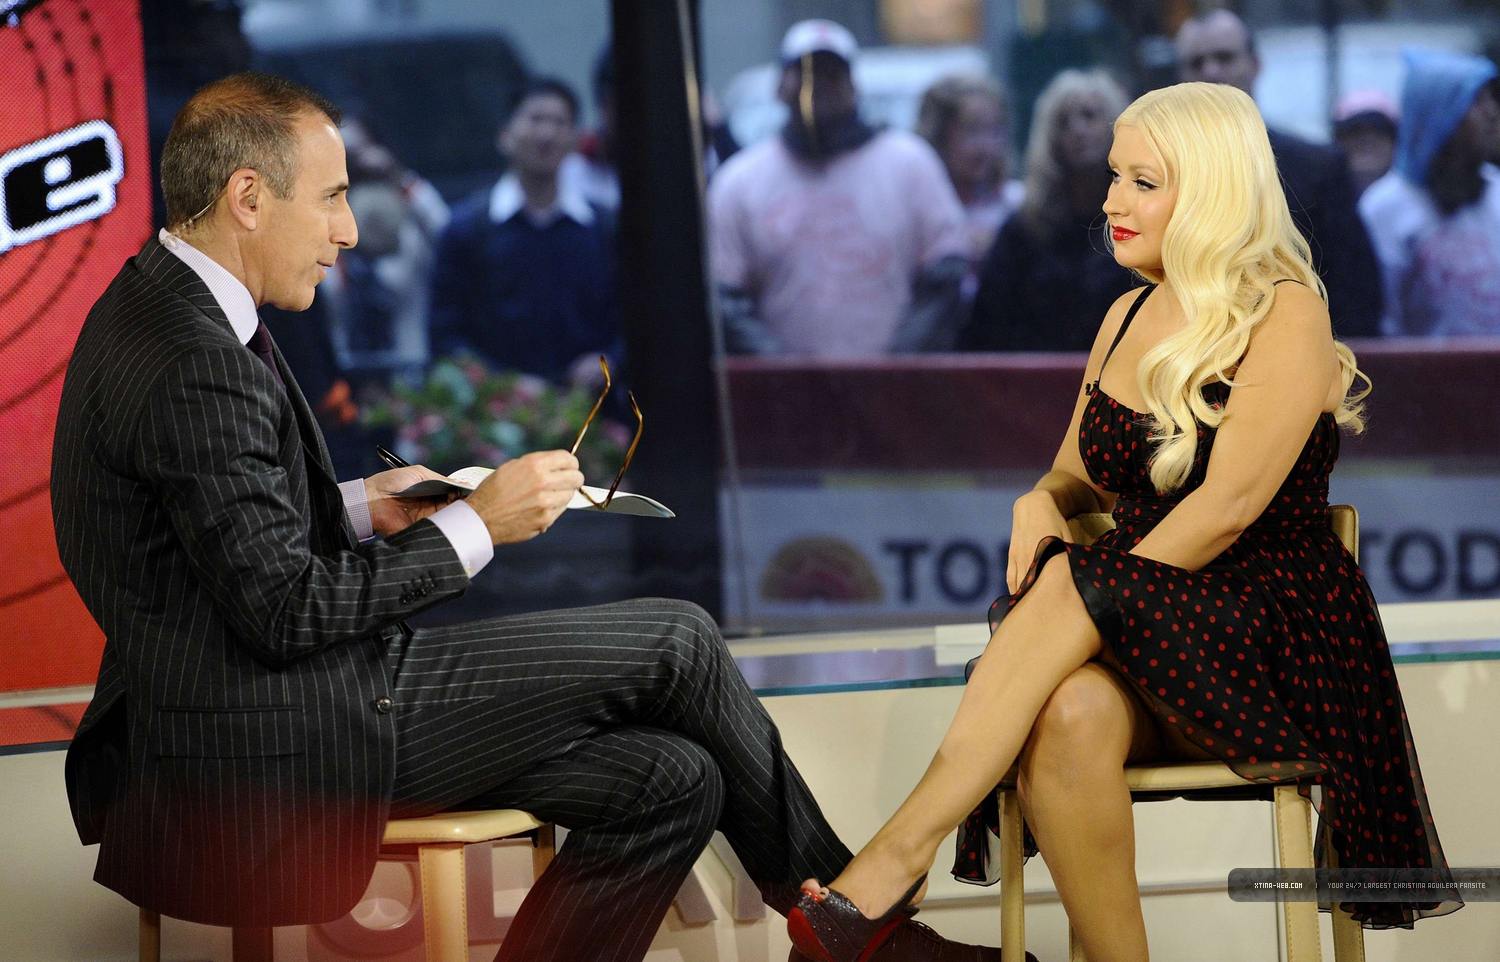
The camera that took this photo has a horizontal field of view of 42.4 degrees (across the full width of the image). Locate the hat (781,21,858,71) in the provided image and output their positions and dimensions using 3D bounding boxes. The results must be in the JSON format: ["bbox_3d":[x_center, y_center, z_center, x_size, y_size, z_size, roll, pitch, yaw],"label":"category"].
[{"bbox_3d":[0.177,-1.154,5.097,0.200,0.115,0.029,0,14,5],"label":"hat"}]
